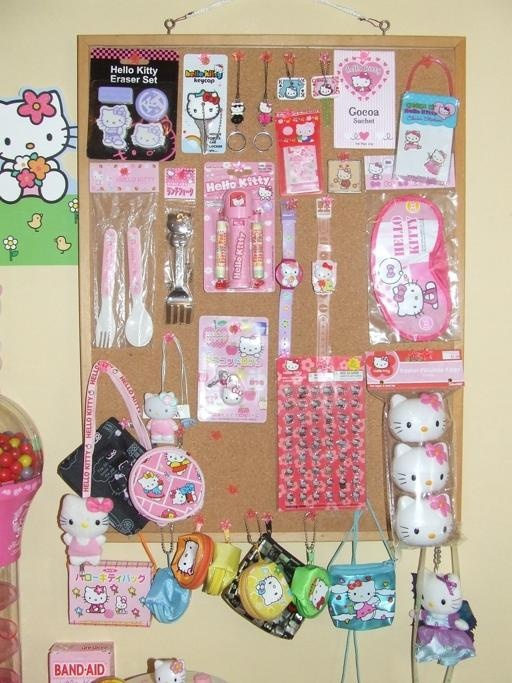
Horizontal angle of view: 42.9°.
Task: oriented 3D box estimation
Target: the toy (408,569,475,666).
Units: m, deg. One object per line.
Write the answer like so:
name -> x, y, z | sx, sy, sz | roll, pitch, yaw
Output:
toy -> 0.403, 0.608, 1.402 | 0.141, 0.247, 0.139 | 2, 12, 13

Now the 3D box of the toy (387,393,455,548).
toy -> 0.343, 0.278, 1.356 | 0.150, 0.327, 0.161 | 2, 12, 11

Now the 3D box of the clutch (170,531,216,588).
clutch -> -0.117, 0.439, 1.336 | 0.085, 0.106, 0.039 | 28, 17, 34

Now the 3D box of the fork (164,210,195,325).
fork -> -0.163, -0.156, 1.394 | 0.062, 0.235, 0.048 | -1, 12, -4

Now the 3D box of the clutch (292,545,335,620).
clutch -> 0.112, 0.504, 1.341 | 0.056, 0.095, 0.094 | 8, 15, 35

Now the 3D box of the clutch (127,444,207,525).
clutch -> -0.185, 0.297, 1.352 | 0.153, 0.146, 0.052 | -3, 12, -11

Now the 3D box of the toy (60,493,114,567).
toy -> -0.349, 0.388, 1.348 | 0.103, 0.150, 0.065 | 2, 9, -6

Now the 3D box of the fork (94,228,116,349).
fork -> -0.320, -0.107, 1.391 | 0.041, 0.262, 0.031 | 2, 9, -7

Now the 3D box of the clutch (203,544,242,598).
clutch -> -0.062, 0.461, 1.343 | 0.073, 0.102, 0.036 | 27, -15, -35

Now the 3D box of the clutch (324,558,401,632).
clutch -> 0.220, 0.533, 1.381 | 0.181, 0.179, 0.065 | -1, 2, -6

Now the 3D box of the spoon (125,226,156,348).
spoon -> -0.245, -0.113, 1.370 | 0.058, 0.246, 0.035 | -1, 15, -2
